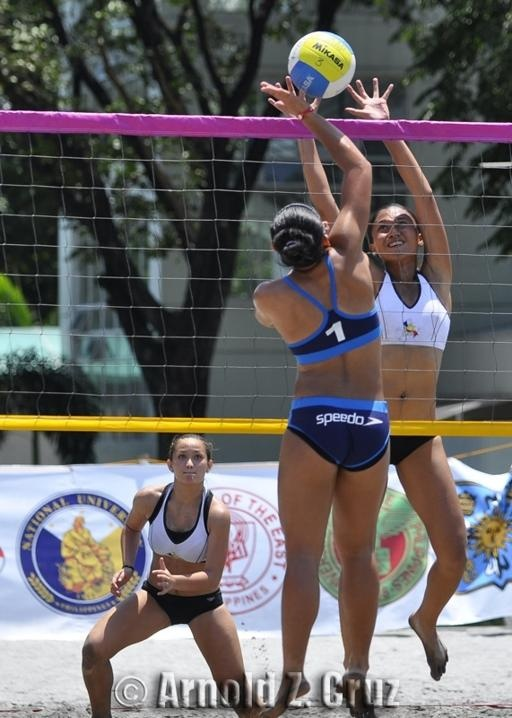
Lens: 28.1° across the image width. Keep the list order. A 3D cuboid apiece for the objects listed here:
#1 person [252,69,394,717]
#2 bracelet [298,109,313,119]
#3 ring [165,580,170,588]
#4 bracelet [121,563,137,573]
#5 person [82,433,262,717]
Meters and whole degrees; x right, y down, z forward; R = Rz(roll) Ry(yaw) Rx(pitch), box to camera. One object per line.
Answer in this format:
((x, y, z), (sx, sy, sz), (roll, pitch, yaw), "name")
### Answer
((0.239, 0.229, 3.987), (0.539, 2.404, 0.527), (0, 6, -24), "person")
((0.201, -0.984, 4.123), (0.040, 0.026, 0.040), (-40, -12, 17), "bracelet")
((-0.349, 0.896, 4.060), (0.019, 0.018, 0.024), (2, 1, 16), "ring")
((-0.532, 0.876, 4.306), (0.055, 0.014, 0.056), (7, -3, -43), "bracelet")
((-0.323, 0.942, 4.263), (0.711, 1.192, 0.539), (2, 5, -3), "person")
